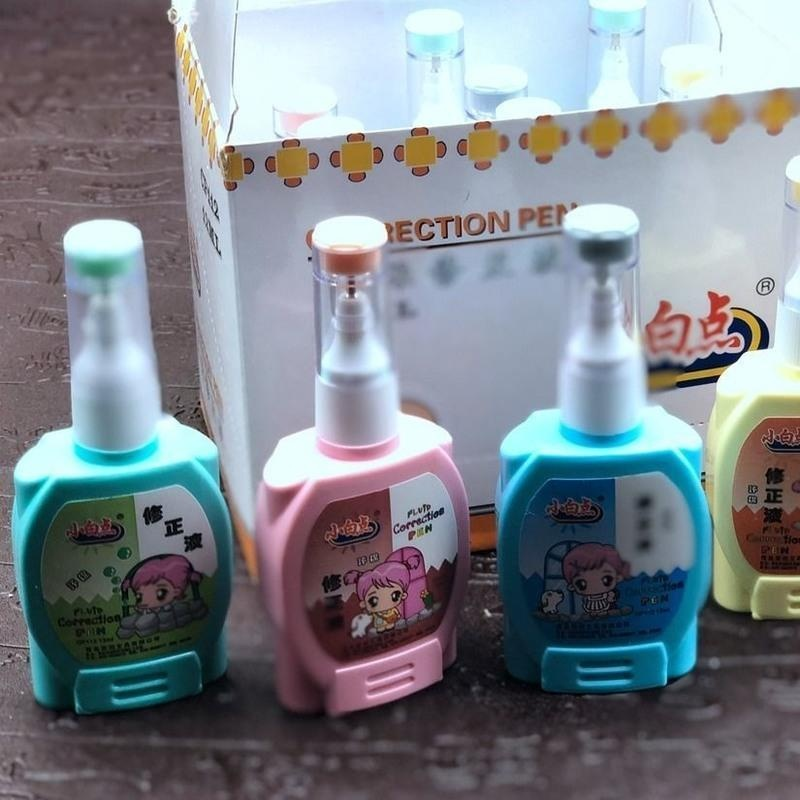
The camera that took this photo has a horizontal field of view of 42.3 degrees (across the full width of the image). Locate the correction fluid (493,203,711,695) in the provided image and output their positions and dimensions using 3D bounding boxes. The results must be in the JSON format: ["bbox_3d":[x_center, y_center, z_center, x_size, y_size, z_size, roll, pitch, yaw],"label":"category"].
[{"bbox_3d":[0.085,0.025,0.443,0.089,0.217,0.054,-5,26,1],"label":"correction fluid"}]

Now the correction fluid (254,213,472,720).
[{"bbox_3d":[-0.016,0.031,0.437,0.089,0.208,0.050,-13,26,-21],"label":"correction fluid"}]

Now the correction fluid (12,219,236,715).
[{"bbox_3d":[-0.117,0.030,0.435,0.090,0.216,0.059,-8,29,-23],"label":"correction fluid"}]

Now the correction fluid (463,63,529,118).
[{"bbox_3d":[0.052,-0.168,0.564,0.030,0.020,0.033,-3,38,3],"label":"correction fluid"}]
